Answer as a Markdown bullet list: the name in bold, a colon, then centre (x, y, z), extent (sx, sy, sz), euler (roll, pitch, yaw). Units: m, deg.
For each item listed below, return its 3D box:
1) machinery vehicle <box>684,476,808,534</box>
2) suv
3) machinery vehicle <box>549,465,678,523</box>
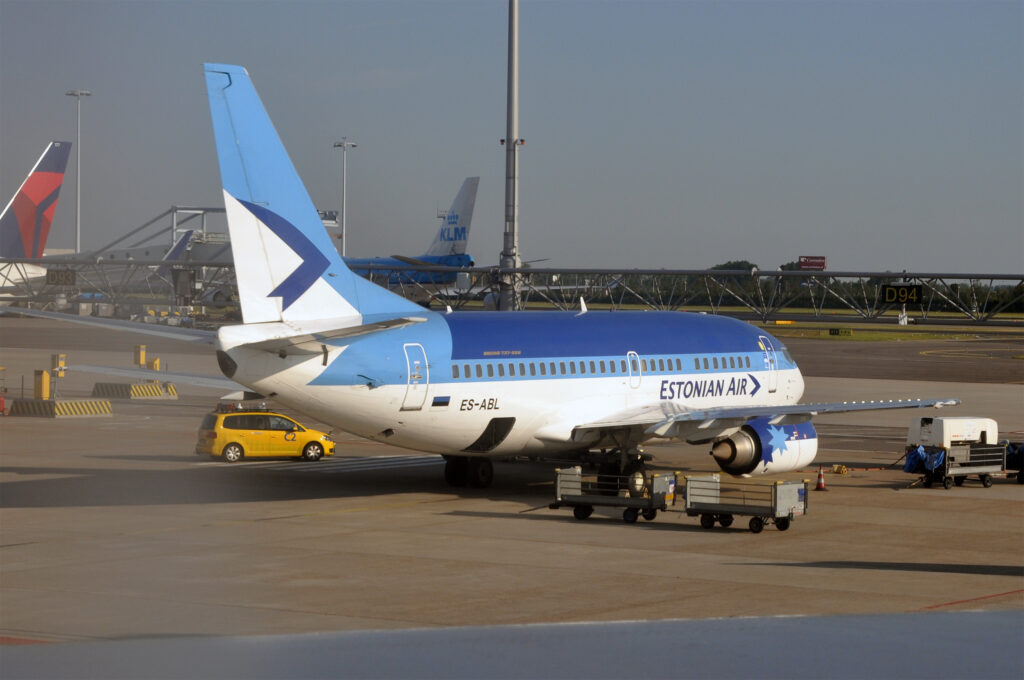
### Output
- **machinery vehicle**: centre (6.132, 4.558, 40.882), extent (3.461, 1.129, 1.783), euler (-1, 0, 23)
- **suv**: centre (-8.687, 3.382, 51.801), extent (5.356, 1.564, 2.021), euler (0, 0, -23)
- **machinery vehicle**: centre (2.888, 4.372, 41.727), extent (3.119, 1.379, 0.938), euler (1, 4, 17)
